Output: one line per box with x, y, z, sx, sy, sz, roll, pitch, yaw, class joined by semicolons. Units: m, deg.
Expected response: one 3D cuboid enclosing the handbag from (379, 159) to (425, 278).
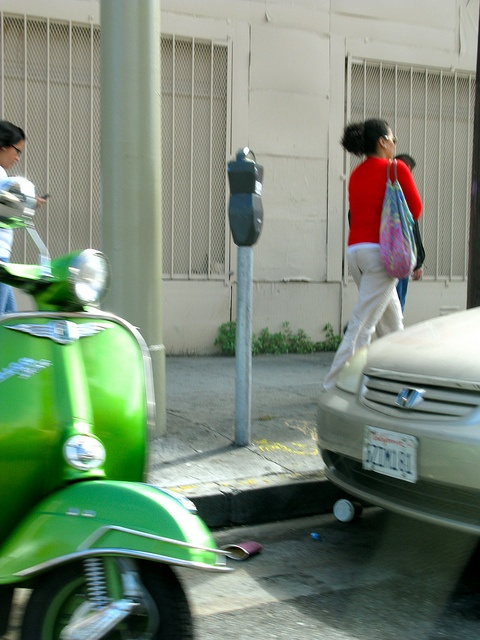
1.014;-0.653;4.815;0.240;0.766;0.215;3;6;9;handbag

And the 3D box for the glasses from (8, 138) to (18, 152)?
-1.354;-1.072;4.539;0.022;0.081;0.072;-8;-3;-30;glasses
